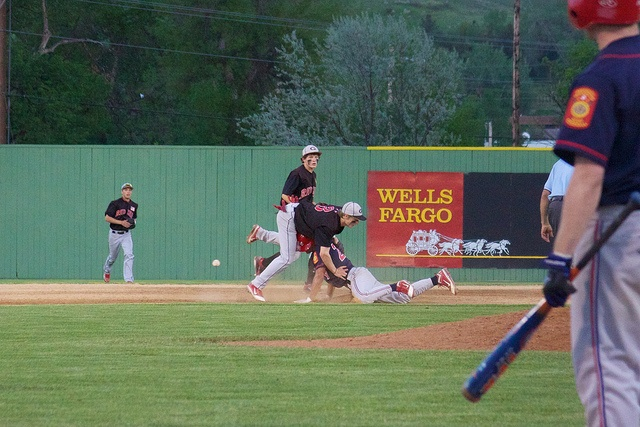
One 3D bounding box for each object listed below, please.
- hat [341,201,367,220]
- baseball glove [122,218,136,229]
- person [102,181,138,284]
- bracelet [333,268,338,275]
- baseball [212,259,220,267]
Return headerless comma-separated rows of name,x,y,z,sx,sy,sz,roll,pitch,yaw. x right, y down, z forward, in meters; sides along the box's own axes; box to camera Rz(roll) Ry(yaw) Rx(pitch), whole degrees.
hat,1.003,-0.083,30.962,0.658,0.504,0.461,-1,6,-2
baseball glove,-6.186,0.301,33.954,0.303,0.395,0.495,-1,7,-3
person,-6.560,0.647,34.305,1.056,3.252,1.350,-3,7,-18
bracelet,0.456,1.688,30.970,0.148,0.216,0.058,-1,6,-2
baseball,-3.529,1.646,35.521,0.222,0.227,0.109,0,4,3
